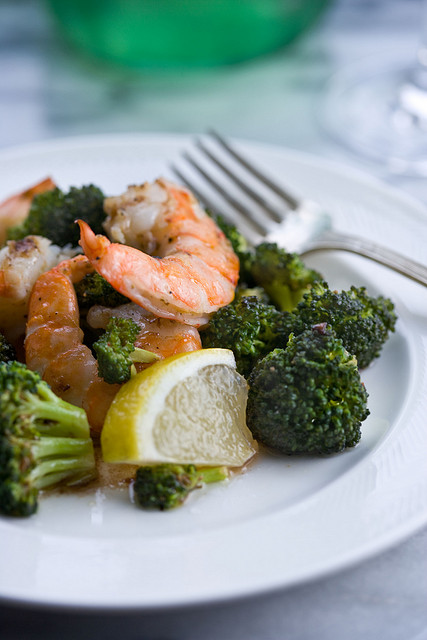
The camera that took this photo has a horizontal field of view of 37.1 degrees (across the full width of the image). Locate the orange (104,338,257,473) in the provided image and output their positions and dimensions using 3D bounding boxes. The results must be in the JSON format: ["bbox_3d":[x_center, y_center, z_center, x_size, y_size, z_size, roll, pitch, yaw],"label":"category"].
[{"bbox_3d":[-0.113,0.209,1.479,0.471,0.144,0.268,-19,87,-53],"label":"orange"}]

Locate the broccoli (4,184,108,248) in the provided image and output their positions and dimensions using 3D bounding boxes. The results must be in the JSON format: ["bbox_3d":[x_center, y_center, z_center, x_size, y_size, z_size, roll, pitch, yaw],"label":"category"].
[{"bbox_3d":[-0.573,-0.404,2.419,0.095,0.314,0.246,46,16,-10],"label":"broccoli"}]

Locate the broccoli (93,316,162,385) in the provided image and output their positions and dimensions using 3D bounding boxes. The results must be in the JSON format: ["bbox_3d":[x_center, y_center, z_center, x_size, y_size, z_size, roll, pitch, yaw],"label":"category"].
[{"bbox_3d":[-0.232,0.074,1.576,0.080,0.153,0.159,35,0,-30],"label":"broccoli"}]

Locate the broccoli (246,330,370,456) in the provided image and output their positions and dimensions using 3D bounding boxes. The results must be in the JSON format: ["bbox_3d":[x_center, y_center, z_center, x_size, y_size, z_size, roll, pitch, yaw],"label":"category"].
[{"bbox_3d":[0.231,0.166,1.519,0.278,0.170,0.309,14,39,7],"label":"broccoli"}]

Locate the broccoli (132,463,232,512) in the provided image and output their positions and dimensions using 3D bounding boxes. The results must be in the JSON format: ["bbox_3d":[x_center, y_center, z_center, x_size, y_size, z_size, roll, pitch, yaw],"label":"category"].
[{"bbox_3d":[-0.071,0.347,1.380,0.164,0.065,0.089,-7,11,-19],"label":"broccoli"}]
